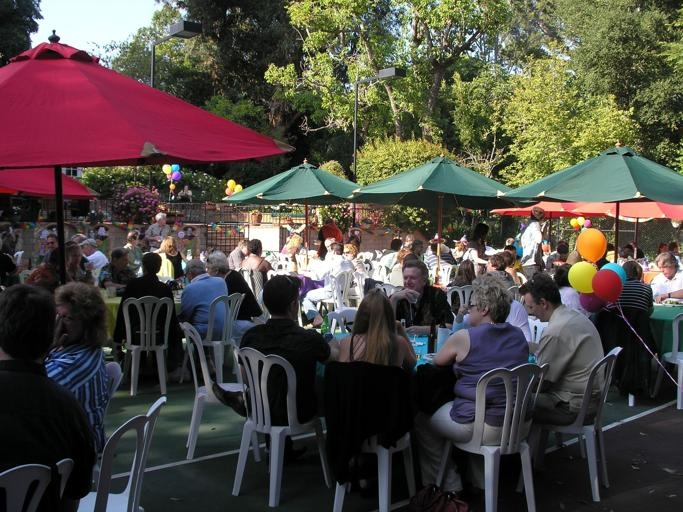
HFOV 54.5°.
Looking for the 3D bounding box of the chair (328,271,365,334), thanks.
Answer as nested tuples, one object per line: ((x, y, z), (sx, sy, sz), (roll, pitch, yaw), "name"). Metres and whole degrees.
((0.202, 0.554, 10.286), (0.468, 0.903, 0.609), (1, 9, 3), "chair")

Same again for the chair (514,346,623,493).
((1.934, 1.306, 5.927), (0.995, 1.615, 0.935), (1, 0, 28), "chair")

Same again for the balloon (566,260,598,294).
((2.360, 0.195, 6.535), (0.260, 0.351, 0.283), (-12, 7, 5), "balloon")

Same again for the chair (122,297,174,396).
((-2.140, 0.973, 7.334), (0.546, 1.067, 0.321), (1, -2, -17), "chair")

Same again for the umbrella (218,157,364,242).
((-0.565, -1.272, 12.746), (1.686, 0.949, 1.736), (-2, 0, 37), "umbrella")

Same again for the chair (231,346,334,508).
((-0.472, 1.291, 5.224), (0.744, 1.166, 0.618), (1, -2, -10), "chair")

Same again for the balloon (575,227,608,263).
((2.928, -0.146, 7.774), (0.286, 0.440, 1.135), (0, -2, 20), "balloon")

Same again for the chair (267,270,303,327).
((-0.425, 0.308, 5.224), (0.264, 0.426, 0.318), (2, 13, 9), "chair")

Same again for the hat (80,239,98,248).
((-3.654, -0.196, 9.564), (0.207, 0.126, 0.166), (3, 2, 17), "hat")
